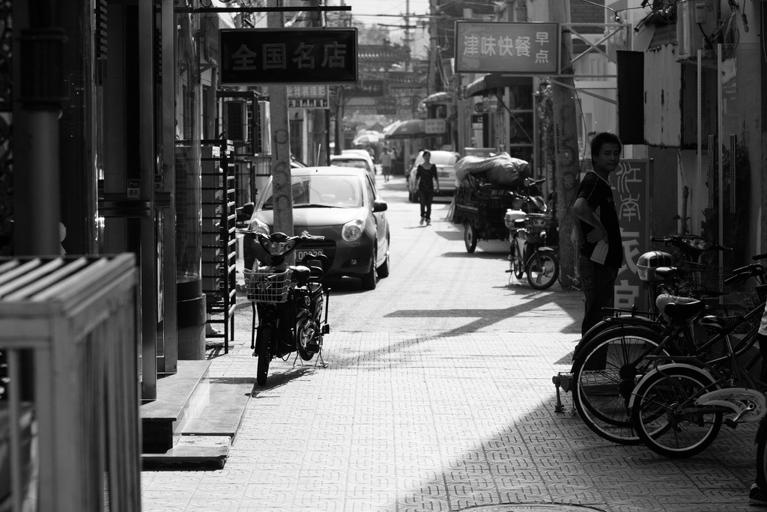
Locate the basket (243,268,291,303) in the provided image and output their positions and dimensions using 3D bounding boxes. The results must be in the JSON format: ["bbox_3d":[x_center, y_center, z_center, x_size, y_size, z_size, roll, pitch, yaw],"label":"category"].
[{"bbox_3d":[-1.187,0.303,9.597,0.394,0.293,0.292,0,2,16],"label":"basket"}]

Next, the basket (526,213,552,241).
[{"bbox_3d":[2.726,-0.518,16.562,0.404,0.532,0.430,1,-3,-8],"label":"basket"}]

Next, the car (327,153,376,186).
[{"bbox_3d":[-1.187,-3.468,35.998,1.557,1.330,3.011,1,-8,5],"label":"car"}]

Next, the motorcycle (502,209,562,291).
[{"bbox_3d":[2.592,-0.113,16.619,0.662,1.266,1.418,-1,6,-15],"label":"motorcycle"}]

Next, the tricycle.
[{"bbox_3d":[2.674,-0.936,21.150,1.361,1.444,2.161,1,-1,-8],"label":"tricycle"}]

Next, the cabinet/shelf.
[{"bbox_3d":[-2.020,-0.112,10.653,0.730,2.434,2.386,-1,2,-1],"label":"cabinet/shelf"}]
